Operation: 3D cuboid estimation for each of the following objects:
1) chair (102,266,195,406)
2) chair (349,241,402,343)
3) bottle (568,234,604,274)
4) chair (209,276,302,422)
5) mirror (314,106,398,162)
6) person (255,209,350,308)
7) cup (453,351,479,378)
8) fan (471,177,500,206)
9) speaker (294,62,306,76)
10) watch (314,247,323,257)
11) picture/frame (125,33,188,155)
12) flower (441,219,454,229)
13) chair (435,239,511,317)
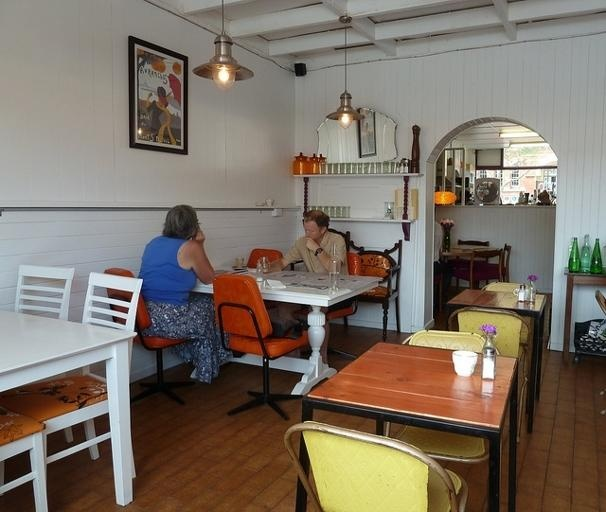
[{"bbox_3d":[-1.107,0.585,3.347,0.504,0.934,0.566,2,4,37],"label":"chair"},{"bbox_3d":[0.690,0.347,4.987,0.740,1.069,0.677,1,4,8],"label":"chair"},{"bbox_3d":[2.717,-0.008,4.308,0.354,0.464,0.139,-1,-7,34],"label":"bottle"},{"bbox_3d":[-0.292,0.597,3.201,0.492,0.962,0.606,0,1,28],"label":"chair"},{"bbox_3d":[0.634,-1.336,5.186,1.052,0.771,0.016,-11,26,-14],"label":"mirror"},{"bbox_3d":[0.109,-0.105,4.200,0.576,0.895,0.680,2,5,33],"label":"person"},{"bbox_3d":[0.631,0.427,1.767,0.088,0.080,0.096,1,-7,0],"label":"cup"},{"bbox_3d":[3.968,-1.407,9.730,0.531,0.539,0.230,3,8,20],"label":"fan"},{"bbox_3d":[-0.035,-2.241,5.411,0.144,0.161,0.110,5,9,35],"label":"speaker"},{"bbox_3d":[0.153,-0.037,4.144,0.105,0.075,0.060,-5,9,-36],"label":"watch"},{"bbox_3d":[-1.182,-1.287,3.712,0.041,0.830,0.616,4,8,30],"label":"picture/frame"},{"bbox_3d":[2.403,-0.530,7.510,0.234,0.167,0.237,-2,-1,27],"label":"flower"},{"bbox_3d":[2.479,0.265,7.130,1.122,1.292,1.169,-7,12,-37],"label":"chair"}]
